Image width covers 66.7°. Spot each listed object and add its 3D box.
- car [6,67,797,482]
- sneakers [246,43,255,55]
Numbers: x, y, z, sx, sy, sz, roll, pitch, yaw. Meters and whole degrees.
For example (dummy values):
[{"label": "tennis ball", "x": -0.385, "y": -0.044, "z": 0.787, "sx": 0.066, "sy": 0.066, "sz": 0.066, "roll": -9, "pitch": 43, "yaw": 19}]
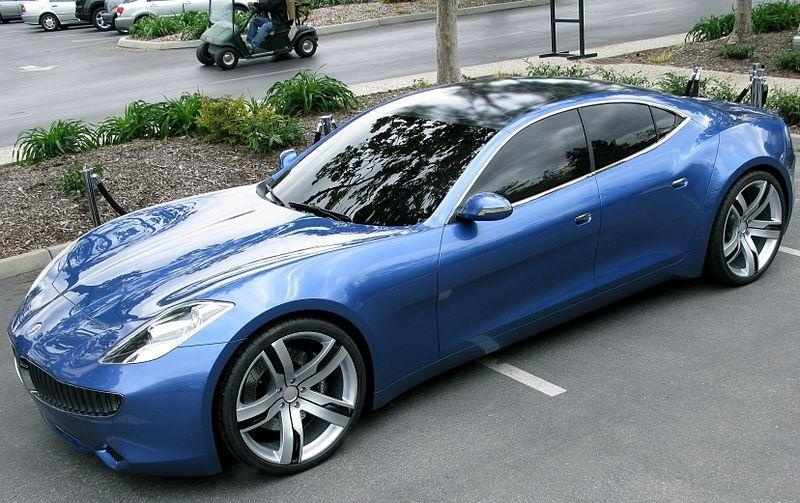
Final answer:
[{"label": "car", "x": 0.494, "y": -0.243, "z": 5.675, "sx": 6.856, "sy": 2.059, "sz": 3.075, "roll": -17, "pitch": 29, "yaw": -22}, {"label": "sneakers", "x": -4.619, "y": -6.192, "z": 18.734, "sx": 0.128, "sy": 0.152, "sz": 0.351, "roll": -24, "pitch": 68, "yaw": -11}]
